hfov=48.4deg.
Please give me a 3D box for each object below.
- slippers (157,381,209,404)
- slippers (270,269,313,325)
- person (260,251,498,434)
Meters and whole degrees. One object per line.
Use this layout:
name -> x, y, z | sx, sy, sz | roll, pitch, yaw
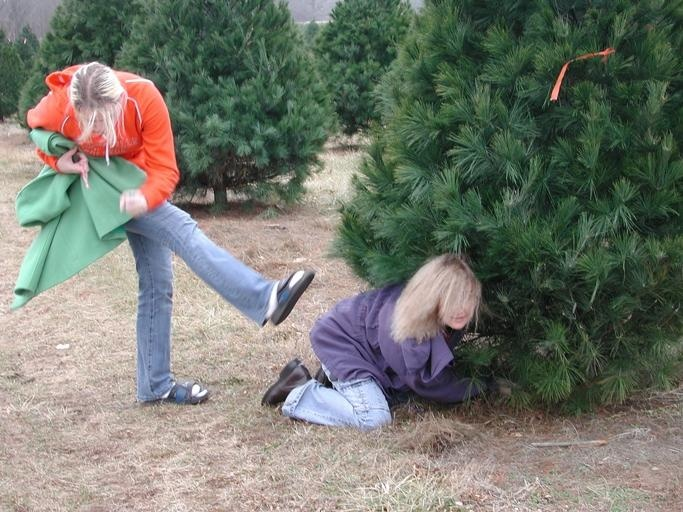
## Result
slippers -> -0.984, 0.880, 4.846 | 0.236, 0.109, 0.144 | -2, 18, 1
slippers -> -0.309, 0.291, 5.003 | 0.138, 0.122, 0.371 | 23, 75, 41
person -> 0.209, 0.519, 4.692 | 1.275, 0.997, 0.850 | 1, 13, 4
